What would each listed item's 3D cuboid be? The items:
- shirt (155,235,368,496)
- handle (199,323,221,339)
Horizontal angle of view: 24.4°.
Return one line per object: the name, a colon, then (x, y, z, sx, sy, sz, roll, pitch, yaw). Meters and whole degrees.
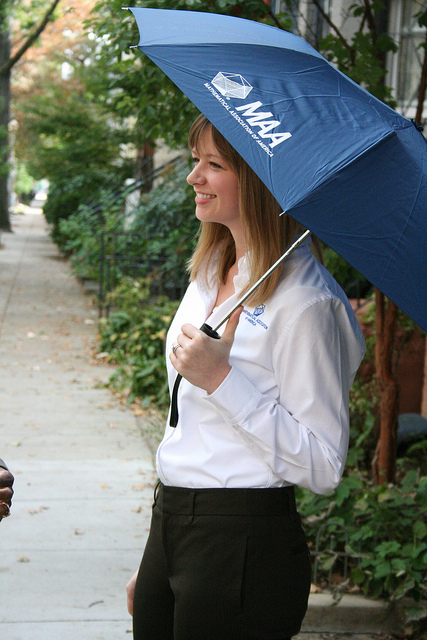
shirt: (0.129, 0.125, 3.048, 0.678, 0.779, 0.483, 7, 8, 27)
handle: (-0.008, 0.032, 2.935, 0.037, 0.046, 0.047, -38, -5, 4)
